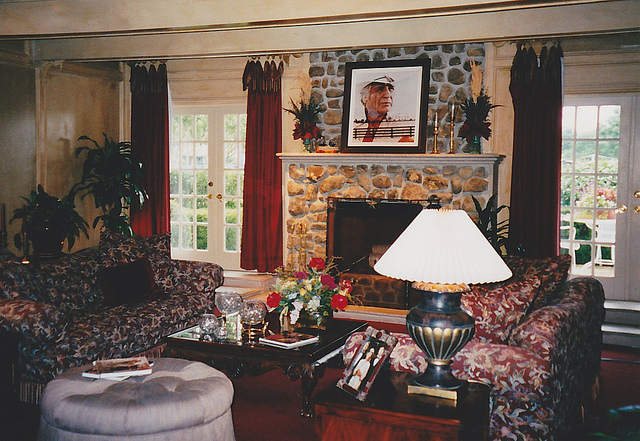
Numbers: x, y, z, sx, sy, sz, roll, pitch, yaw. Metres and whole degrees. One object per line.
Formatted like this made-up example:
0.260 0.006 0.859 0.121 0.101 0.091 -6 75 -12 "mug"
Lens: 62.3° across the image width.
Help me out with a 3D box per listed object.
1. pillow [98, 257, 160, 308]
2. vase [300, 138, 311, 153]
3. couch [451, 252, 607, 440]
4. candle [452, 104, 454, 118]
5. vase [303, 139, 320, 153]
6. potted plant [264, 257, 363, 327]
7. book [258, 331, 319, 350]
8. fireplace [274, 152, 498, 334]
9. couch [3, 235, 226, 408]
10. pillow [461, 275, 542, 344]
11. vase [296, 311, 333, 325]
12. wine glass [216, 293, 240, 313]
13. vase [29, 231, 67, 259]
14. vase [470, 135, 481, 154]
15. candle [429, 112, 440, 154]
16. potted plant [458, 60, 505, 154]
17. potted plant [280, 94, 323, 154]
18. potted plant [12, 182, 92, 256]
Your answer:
-1.810 0.598 4.941 0.527 0.393 0.146 -16 -9 -41 "pillow"
-0.167 -0.967 6.814 0.085 0.180 0.156 -2 5 -27 "vase"
1.366 0.851 3.490 0.779 0.851 1.418 0 5 32 "couch"
1.625 -1.337 6.437 0.018 0.161 0.073 1 5 12 "candle"
-0.095 -0.970 6.878 0.145 0.138 0.211 6 3 32 "vase"
-0.084 0.581 4.662 0.772 0.534 0.753 0 -2 -3 "potted plant"
-0.232 0.923 4.097 0.460 0.067 0.240 -1 5 -17 "book"
0.995 0.250 6.595 2.613 2.124 0.838 1 4 32 "fireplace"
-1.925 0.803 4.743 0.956 1.154 1.735 3 5 29 "couch"
1.232 0.596 3.593 0.481 0.199 0.490 0 48 22 "pillow"
-0.047 0.799 4.426 0.297 0.133 0.176 0 5 -6 "vase"
-0.795 0.699 4.578 0.189 0.145 0.148 3 16 -4 "wine glass"
-2.865 0.240 5.668 0.359 0.335 0.355 -2 -3 30 "vase"
1.836 -0.899 6.269 0.110 0.219 0.142 3 5 24 "vase"
1.400 -1.065 6.418 0.102 0.517 0.263 2 5 12 "candle"
1.880 -1.355 6.304 0.399 1.087 0.396 2 5 16 "potted plant"
-0.146 -1.263 7.082 0.666 0.702 0.739 -1 -2 45 "potted plant"
-3.169 0.006 6.189 0.902 0.708 0.915 1 -2 24 "potted plant"
